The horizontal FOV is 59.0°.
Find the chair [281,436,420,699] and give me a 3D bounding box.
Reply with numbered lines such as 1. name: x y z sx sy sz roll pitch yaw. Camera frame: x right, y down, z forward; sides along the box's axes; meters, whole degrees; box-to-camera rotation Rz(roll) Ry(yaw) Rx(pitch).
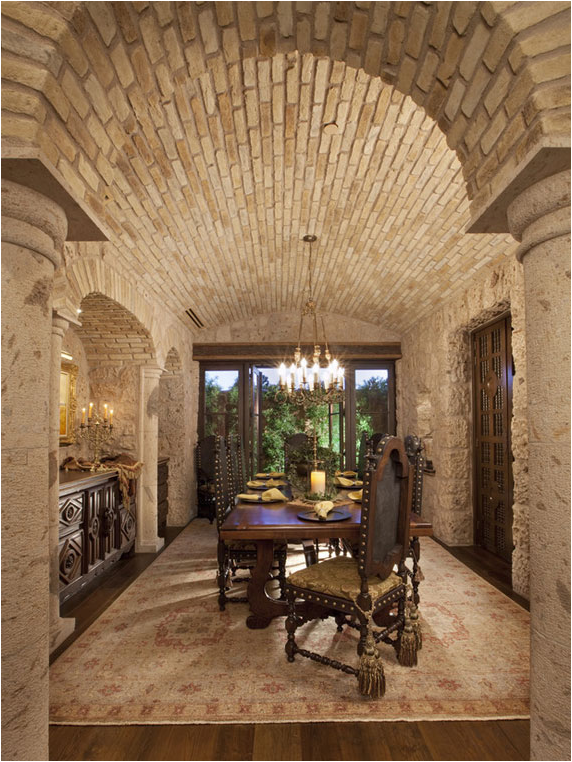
1. chair: 0.324 0.807 2.349 0.569 1.021 0.630 3 -4 -29

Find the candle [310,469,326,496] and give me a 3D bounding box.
1. candle: 0.194 0.642 3.126 0.105 0.179 0.111 3 -5 -42

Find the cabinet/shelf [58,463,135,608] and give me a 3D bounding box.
1. cabinet/shelf: -1.337 1.090 3.526 0.270 0.516 0.915 -1 -1 -5
